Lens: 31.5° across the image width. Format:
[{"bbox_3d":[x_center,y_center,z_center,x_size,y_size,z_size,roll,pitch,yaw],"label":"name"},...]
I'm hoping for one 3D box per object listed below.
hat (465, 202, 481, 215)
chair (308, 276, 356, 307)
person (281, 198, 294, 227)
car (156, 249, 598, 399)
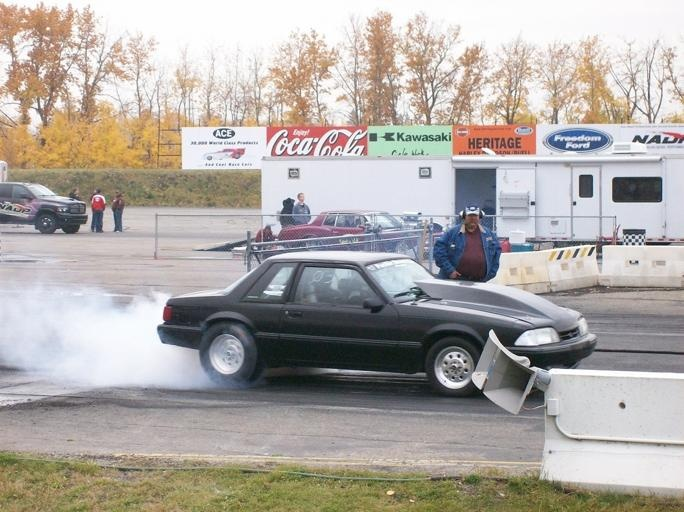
[{"bbox_3d":[2.166,-0.734,20.003,0.279,0.176,0.472,1,13,6],"label":"hat"},{"bbox_3d":[-0.154,0.539,18.522,0.598,0.419,0.216,-2,-16,15],"label":"chair"},{"bbox_3d":[-1.575,-1.151,32.742,0.431,0.815,0.217,-10,-38,37],"label":"person"},{"bbox_3d":[0.531,1.040,18.876,5.506,1.579,2.502,-1,2,18],"label":"car"}]
